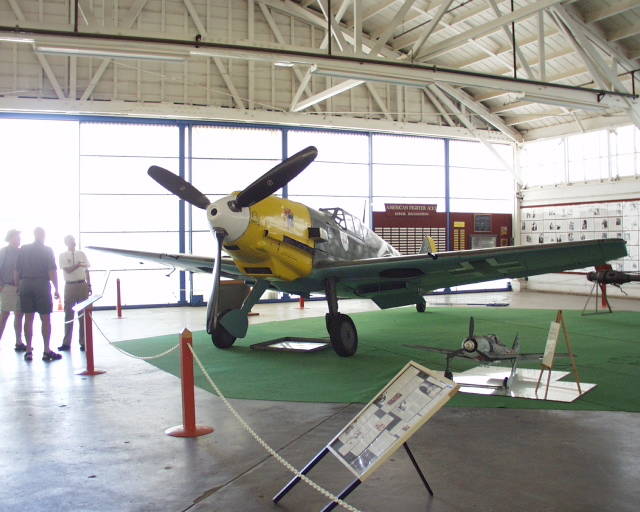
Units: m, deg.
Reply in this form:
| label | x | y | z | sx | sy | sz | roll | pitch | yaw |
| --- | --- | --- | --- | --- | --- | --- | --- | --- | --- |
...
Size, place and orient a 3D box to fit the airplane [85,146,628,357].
| label | x | y | z | sx | sy | sz | roll | pitch | yaw |
| --- | --- | --- | --- | --- | --- | --- | --- | --- | --- |
| airplane | 1.106 | -0.081 | 7.622 | 4.369 | 2.615 | 4.049 | 0 | 7 | 6 |

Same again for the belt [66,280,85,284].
| label | x | y | z | sx | sy | sz | roll | pitch | yaw |
| --- | --- | --- | --- | --- | --- | --- | --- | --- | --- |
| belt | -3.393 | 0.357 | 7.851 | 0.221 | 0.057 | 0.034 | -5 | 9 | -29 |

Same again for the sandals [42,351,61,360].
| label | x | y | z | sx | sy | sz | roll | pitch | yaw |
| --- | --- | --- | --- | --- | --- | --- | --- | --- | --- |
| sandals | -3.499 | 1.268 | 7.281 | 0.296 | 0.098 | 0.098 | 0 | 2 | -2 |

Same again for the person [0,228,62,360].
| label | x | y | z | sx | sy | sz | roll | pitch | yaw |
| --- | --- | --- | --- | --- | --- | --- | --- | --- | --- |
| person | -3.699 | 0.489 | 7.420 | 0.514 | 1.719 | 1.013 | -7 | 10 | -27 |
